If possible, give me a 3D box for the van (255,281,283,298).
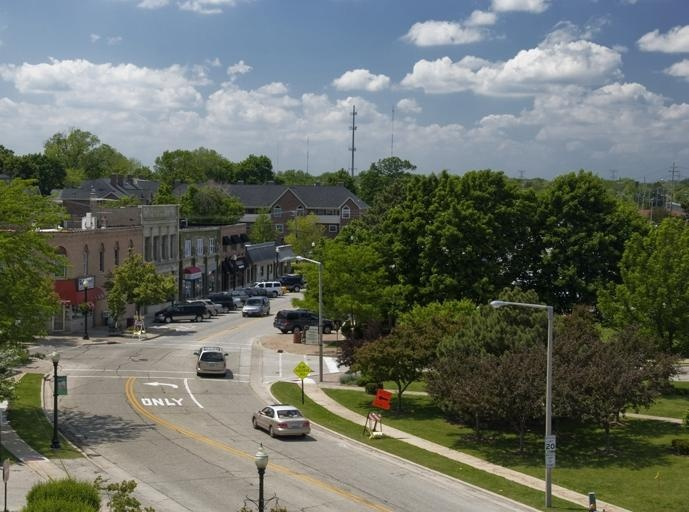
[{"bbox_3d":[-8.851,3.756,128.472,3.065,1.149,1.542,2,0,-9],"label":"van"}]

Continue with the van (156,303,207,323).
[{"bbox_3d":[-16.082,5.408,107.729,4.111,1.390,1.850,2,-2,-23],"label":"van"}]

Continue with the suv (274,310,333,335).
[{"bbox_3d":[-4.045,5.865,101.227,4.463,1.897,2.241,-3,4,-13],"label":"suv"}]

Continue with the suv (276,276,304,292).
[{"bbox_3d":[-6.552,3.294,135.723,2.622,1.289,1.652,3,-2,-9],"label":"suv"}]

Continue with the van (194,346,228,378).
[{"bbox_3d":[-10.181,7.858,84.201,1.662,1.266,2.625,0,9,-10],"label":"van"}]

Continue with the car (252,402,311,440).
[{"bbox_3d":[-4.131,10.222,69.675,3.433,1.623,1.636,9,11,39],"label":"car"}]
